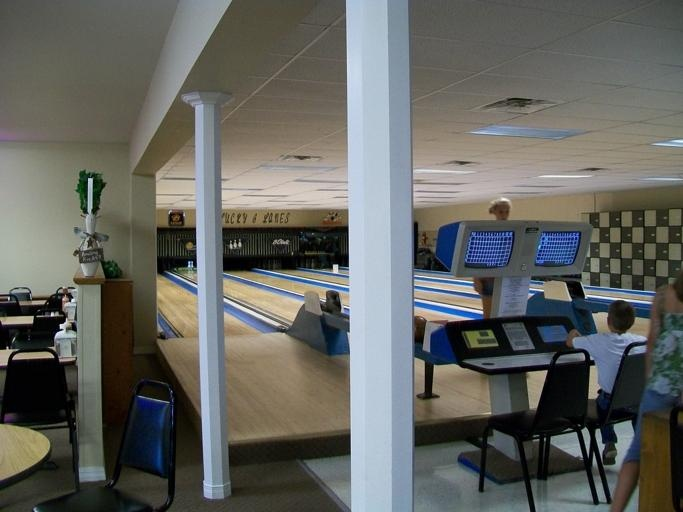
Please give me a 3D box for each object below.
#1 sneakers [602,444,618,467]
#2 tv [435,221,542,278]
[{"bbox_3d":[1.265,0.939,2.272,0.059,0.114,0.077,-1,35,6],"label":"sneakers"},{"bbox_3d":[0.785,-0.036,2.496,0.508,0.280,0.167,-2,5,-20],"label":"tv"}]
